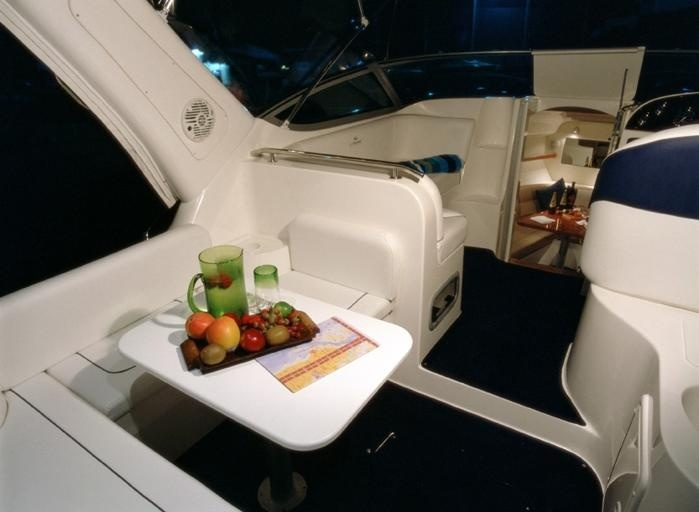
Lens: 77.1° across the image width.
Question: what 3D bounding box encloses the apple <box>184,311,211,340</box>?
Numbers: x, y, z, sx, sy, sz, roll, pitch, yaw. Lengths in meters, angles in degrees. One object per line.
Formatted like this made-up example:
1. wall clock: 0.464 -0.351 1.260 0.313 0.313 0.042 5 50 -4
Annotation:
1. apple: -0.505 0.247 1.496 0.086 0.086 0.088 -27 62 36

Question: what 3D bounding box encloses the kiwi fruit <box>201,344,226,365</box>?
1. kiwi fruit: -0.429 0.312 1.384 0.079 0.050 0.047 -21 37 -23

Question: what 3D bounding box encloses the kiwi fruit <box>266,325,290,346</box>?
1. kiwi fruit: -0.236 0.262 1.446 0.068 0.055 0.055 3 66 -15

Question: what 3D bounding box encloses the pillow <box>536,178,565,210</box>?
1. pillow: 1.705 -0.529 3.721 0.101 0.264 0.253 -9 -10 -25

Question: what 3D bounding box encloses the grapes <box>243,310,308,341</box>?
1. grapes: -0.241 0.227 1.480 0.114 0.049 0.157 11 21 32

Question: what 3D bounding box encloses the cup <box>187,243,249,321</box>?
1. cup: -0.465 0.108 1.555 0.213 0.239 0.268 -14 35 -14

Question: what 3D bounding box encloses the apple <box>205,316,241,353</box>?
1. apple: -0.403 0.245 1.451 0.098 0.113 0.106 -18 11 -23
